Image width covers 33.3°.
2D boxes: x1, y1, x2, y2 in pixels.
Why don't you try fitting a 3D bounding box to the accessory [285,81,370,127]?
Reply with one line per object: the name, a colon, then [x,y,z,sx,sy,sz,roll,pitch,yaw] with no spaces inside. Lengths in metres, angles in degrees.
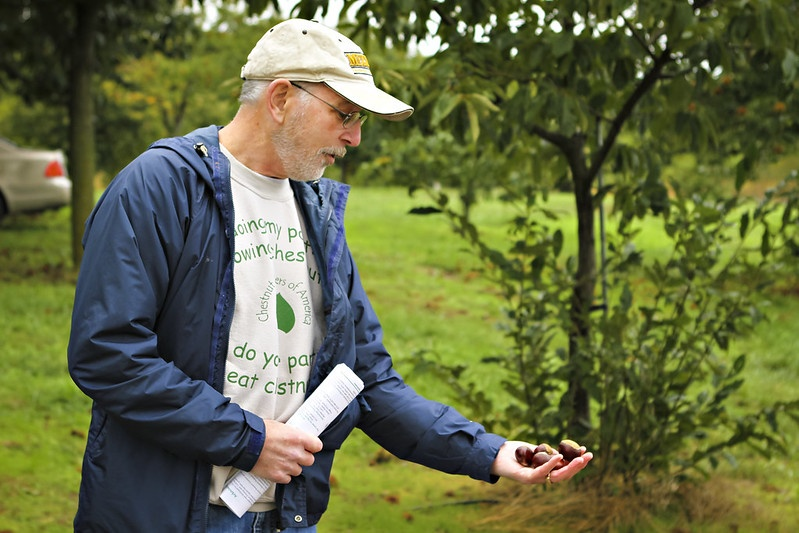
accessory: [-0.372,-0.887,7.329,0.286,0.088,0.276,44,11,13]
